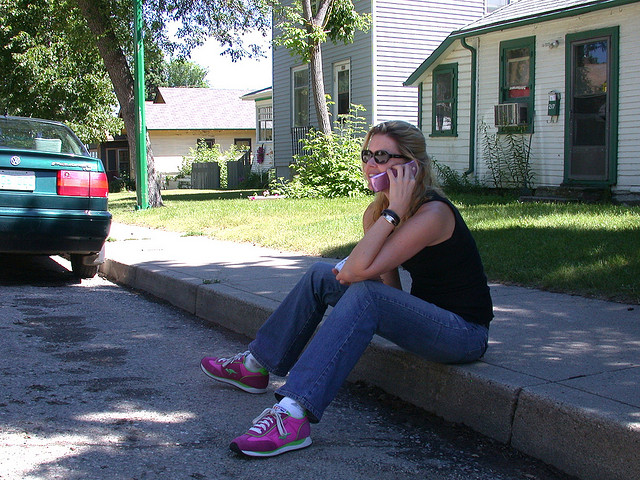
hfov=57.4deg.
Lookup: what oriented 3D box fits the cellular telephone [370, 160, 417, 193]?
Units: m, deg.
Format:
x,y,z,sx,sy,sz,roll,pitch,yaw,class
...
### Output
x,y,z,sx,sy,sz,roll,pitch,yaw,class
0.427,-0.364,3.414,0.274,0.180,0.104,-2,11,6,cellular telephone
